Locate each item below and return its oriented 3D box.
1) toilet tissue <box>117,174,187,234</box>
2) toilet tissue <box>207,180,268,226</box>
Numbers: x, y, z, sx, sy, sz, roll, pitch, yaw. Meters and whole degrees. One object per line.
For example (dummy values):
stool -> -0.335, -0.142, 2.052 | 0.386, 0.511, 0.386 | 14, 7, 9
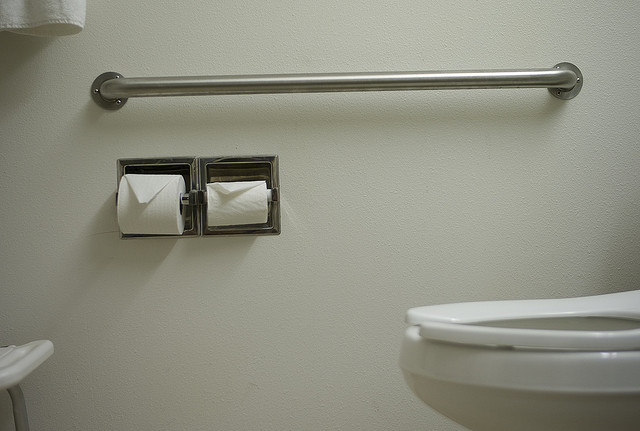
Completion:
toilet tissue -> -0.412, -0.023, 1.277 | 0.136, 0.105, 0.094 | -5, 6, -6
toilet tissue -> -0.168, -0.031, 1.317 | 0.206, 0.115, 0.156 | -1, 2, 24
